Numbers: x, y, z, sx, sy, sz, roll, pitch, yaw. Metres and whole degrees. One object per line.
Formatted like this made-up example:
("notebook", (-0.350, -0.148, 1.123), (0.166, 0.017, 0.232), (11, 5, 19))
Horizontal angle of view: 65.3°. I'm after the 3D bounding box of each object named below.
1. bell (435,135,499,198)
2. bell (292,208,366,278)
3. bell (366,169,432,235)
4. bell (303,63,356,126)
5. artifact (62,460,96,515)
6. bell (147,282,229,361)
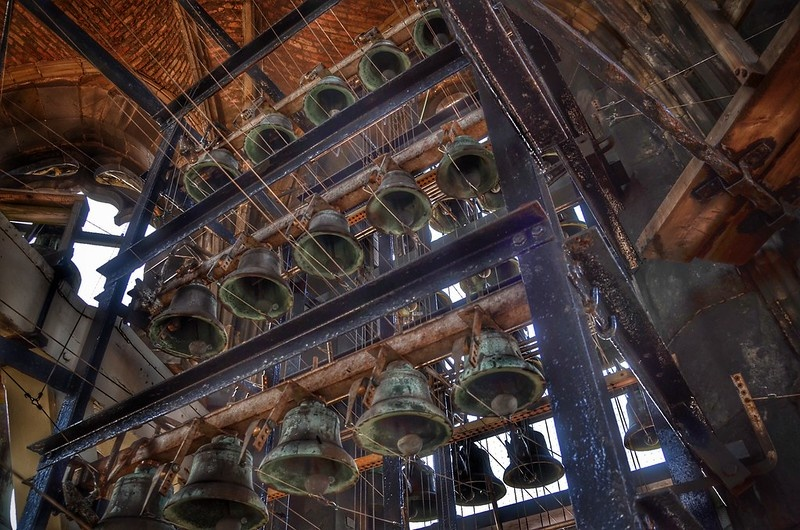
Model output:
("bell", (0.926, -1.293, 8.479), (0.833, 1.006, 0.907), (1, -69, 15))
("bell", (-1.017, -0.202, 8.801), (0.861, 0.975, 0.911), (3, -53, -4))
("bell", (-0.022, -0.764, 8.755), (0.794, 0.894, 0.873), (-4, -57, 0))
("bell", (-1.196, -2.894, 10.701), (0.802, 1.494, 0.945), (12, -68, -10))
("artifact", (-4.581, 3.151, 8.830), (0.582, 0.960, 0.315), (-1, -1, 39))
("bell", (-3.104, 0.568, 9.208), (0.842, 1.013, 0.888), (5, -36, -8))
